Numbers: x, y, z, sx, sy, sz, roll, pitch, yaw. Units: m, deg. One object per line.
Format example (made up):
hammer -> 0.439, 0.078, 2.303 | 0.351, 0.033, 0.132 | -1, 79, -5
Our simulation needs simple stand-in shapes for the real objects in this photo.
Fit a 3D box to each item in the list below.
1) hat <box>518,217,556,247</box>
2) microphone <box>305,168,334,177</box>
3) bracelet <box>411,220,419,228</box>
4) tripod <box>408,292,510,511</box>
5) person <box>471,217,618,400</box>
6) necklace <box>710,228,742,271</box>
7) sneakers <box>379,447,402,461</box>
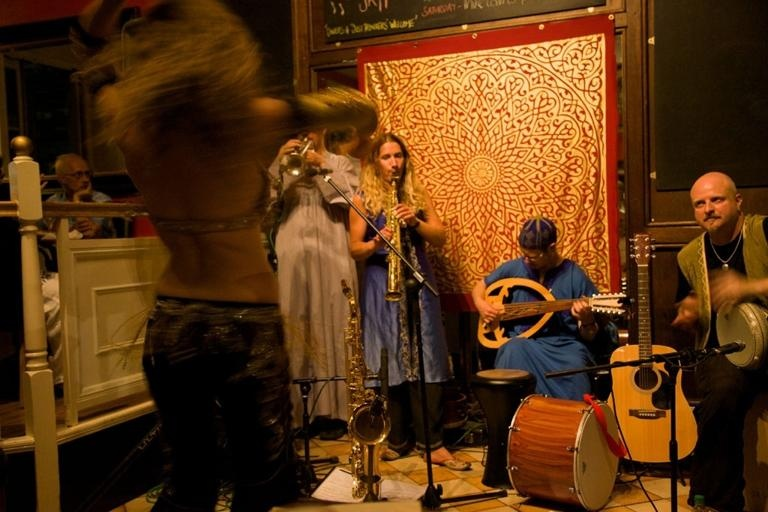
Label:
hat -> 1.069, -0.163, 5.355 | 0.174, 0.217, 0.240 | 3, -8, 21
microphone -> -0.348, -0.453, 4.129 | 0.095, 0.028, 0.098 | 0, 2, -23
bracelet -> 0.222, -0.226, 5.458 | 0.048, 0.036, 0.047 | 4, -7, -39
tripod -> 0.446, 0.862, 4.752 | 0.527, 1.325, 1.221 | -3, 0, 2
person -> 1.165, 0.368, 5.363 | 0.849, 1.595, 0.569 | -17, -28, 37
necklace -> 2.258, -0.043, 5.060 | 0.173, 0.256, 0.061 | 1, -7, 18
sneakers -> 0.053, 1.415, 5.516 | 0.182, 0.075, 0.068 | -2, 10, 3
